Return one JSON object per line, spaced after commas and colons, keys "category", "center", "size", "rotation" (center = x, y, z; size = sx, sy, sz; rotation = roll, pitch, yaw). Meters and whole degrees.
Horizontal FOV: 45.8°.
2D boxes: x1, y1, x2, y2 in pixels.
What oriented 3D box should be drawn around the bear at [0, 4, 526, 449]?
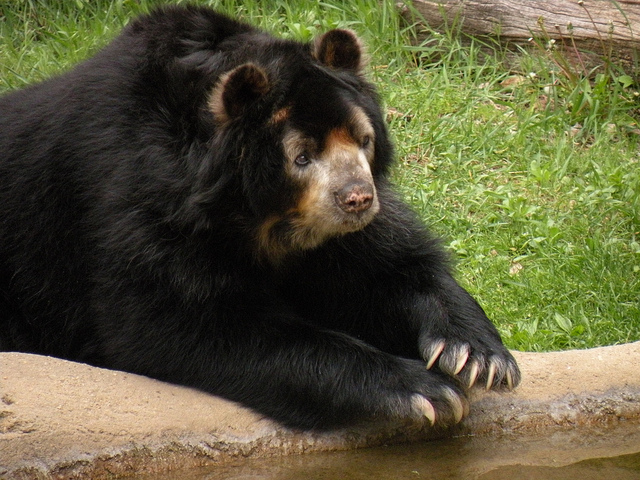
{"category": "bear", "center": [-0.364, -0.379, 4.845], "size": [3.625, 2.229, 1.980], "rotation": [19, 29, 29]}
